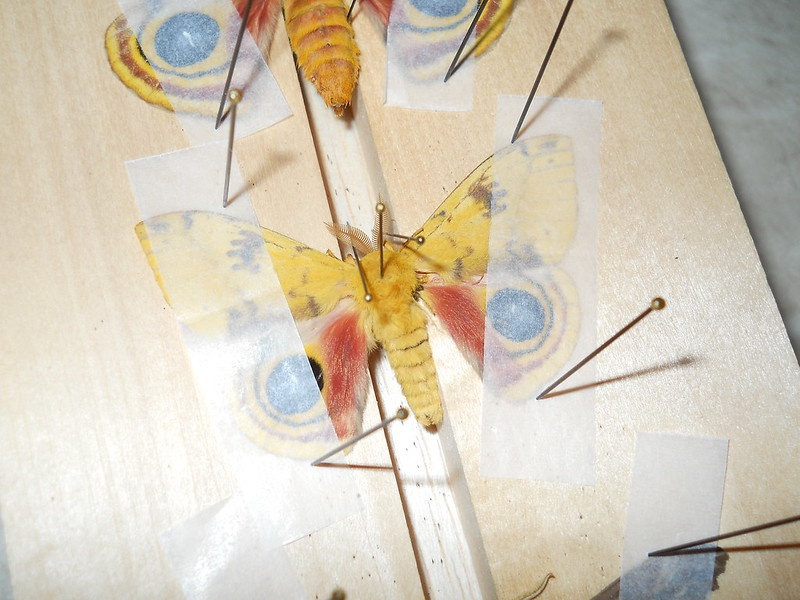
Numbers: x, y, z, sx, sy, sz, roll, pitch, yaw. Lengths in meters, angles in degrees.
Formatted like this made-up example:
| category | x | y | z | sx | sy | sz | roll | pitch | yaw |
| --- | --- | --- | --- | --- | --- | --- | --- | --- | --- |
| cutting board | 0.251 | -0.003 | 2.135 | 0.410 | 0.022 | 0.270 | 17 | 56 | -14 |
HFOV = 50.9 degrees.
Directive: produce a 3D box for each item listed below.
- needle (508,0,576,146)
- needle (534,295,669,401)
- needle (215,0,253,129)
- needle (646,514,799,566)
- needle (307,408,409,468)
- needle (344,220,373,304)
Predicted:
| category | x | y | z | sx | sy | sz | roll | pitch | yaw |
| --- | --- | --- | --- | --- | --- | --- | --- | --- | --- |
| needle | 0.267 | -0.416 | 1.586 | 0.023 | 0.338 | 0.024 | 7 | 34 | -19 |
| needle | 0.361 | 0.096 | 1.504 | 0.242 | 0.012 | 0.027 | -43 | 55 | 1 |
| needle | -0.311 | -0.428 | 1.565 | 0.030 | 0.011 | 0.268 | 15 | 87 | -10 |
| needle | 0.568 | 0.420 | 1.455 | 0.264 | 0.028 | 0.015 | -14 | 56 | 8 |
| needle | -0.083 | 0.244 | 1.480 | 0.155 | 0.036 | 0.031 | -35 | 102 | -12 |
| needle | -0.063 | -0.064 | 1.469 | 0.025 | 0.016 | 0.226 | -8 | 39 | 0 |
